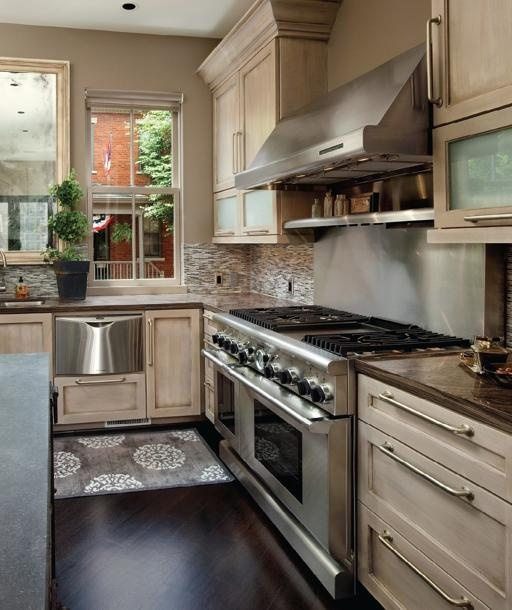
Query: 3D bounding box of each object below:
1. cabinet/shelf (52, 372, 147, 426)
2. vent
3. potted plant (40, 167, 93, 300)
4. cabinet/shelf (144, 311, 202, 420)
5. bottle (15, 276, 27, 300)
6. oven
[{"bbox_3d":[-1.253,0.735,3.823,0.684,0.374,0.399,3,-15,-35],"label":"cabinet/shelf"},{"bbox_3d":[0.304,-0.806,2.291,0.287,0.352,1.155,-8,10,-22],"label":"vent"},{"bbox_3d":[-1.548,-0.560,4.088,0.340,1.026,0.527,-1,3,-18],"label":"potted plant"},{"bbox_3d":[-0.621,0.439,3.781,0.420,0.823,0.097,0,3,-9],"label":"cabinet/shelf"},{"bbox_3d":[-1.918,-0.144,4.091,0.091,0.185,0.219,-1,4,-25],"label":"bottle"},{"bbox_3d":[0.092,0.659,2.153,0.290,0.335,0.954,1,4,-16],"label":"oven"}]
